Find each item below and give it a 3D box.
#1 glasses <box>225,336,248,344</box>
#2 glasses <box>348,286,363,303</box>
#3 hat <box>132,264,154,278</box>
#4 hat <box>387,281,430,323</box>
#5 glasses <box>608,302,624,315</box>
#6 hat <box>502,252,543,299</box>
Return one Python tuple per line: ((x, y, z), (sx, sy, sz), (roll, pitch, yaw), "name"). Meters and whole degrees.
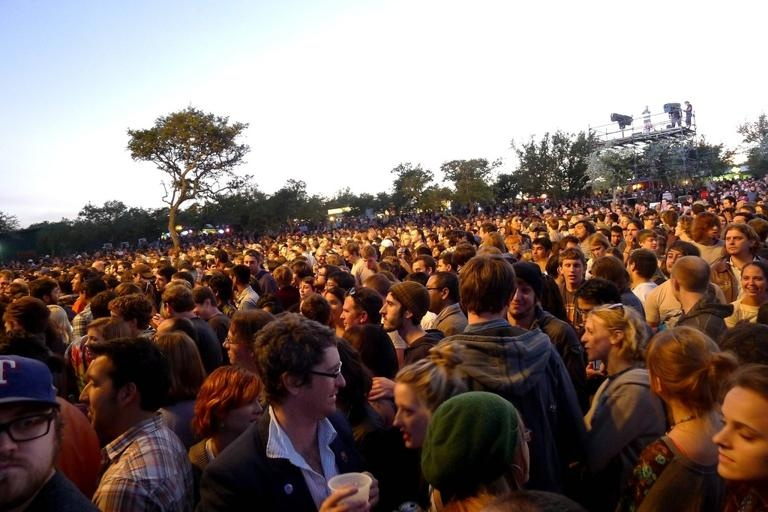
((-1.450, 0.826, 4.966), (0.175, 0.053, 0.171), (2, -1, -2), "glasses")
((-0.309, 0.390, 5.293), (0.156, 0.082, 0.323), (-6, 3, -4), "glasses")
((-4.888, 0.338, 10.257), (0.414, 0.242, 0.297), (4, 8, -3), "hat")
((0.266, 0.476, 5.080), (0.396, 0.427, 0.199), (-6, 3, -3), "hat")
((1.900, 0.418, 4.157), (0.110, 0.052, 0.209), (-4, 3, 25), "glasses")
((1.277, 0.181, 4.644), (0.297, 0.409, 0.180), (27, 62, 38), "hat")
